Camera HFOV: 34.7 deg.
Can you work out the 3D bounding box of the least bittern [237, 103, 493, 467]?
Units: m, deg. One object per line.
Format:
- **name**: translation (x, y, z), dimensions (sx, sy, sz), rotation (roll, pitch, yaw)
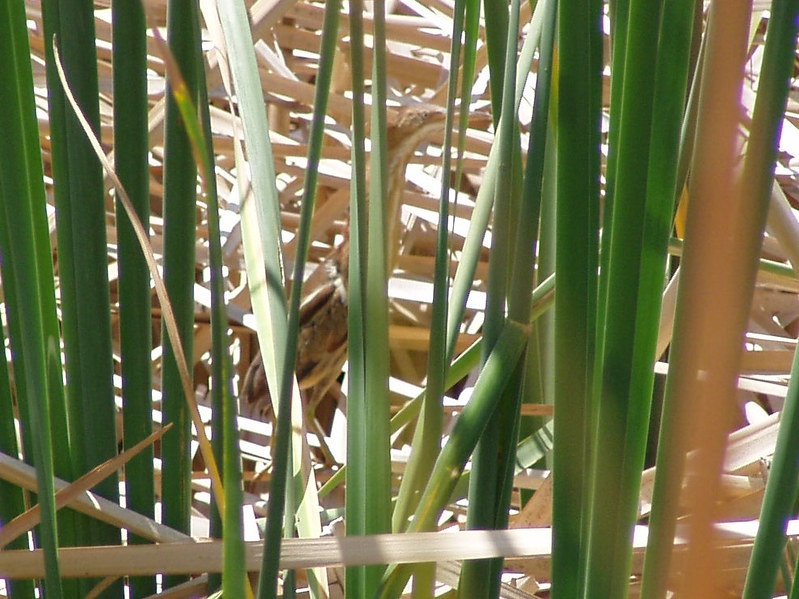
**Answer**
- **least bittern**: translation (-0.047, 0.008, 2.083), dimensions (0.200, 0.667, 0.417), rotation (-5, 20, -28)
